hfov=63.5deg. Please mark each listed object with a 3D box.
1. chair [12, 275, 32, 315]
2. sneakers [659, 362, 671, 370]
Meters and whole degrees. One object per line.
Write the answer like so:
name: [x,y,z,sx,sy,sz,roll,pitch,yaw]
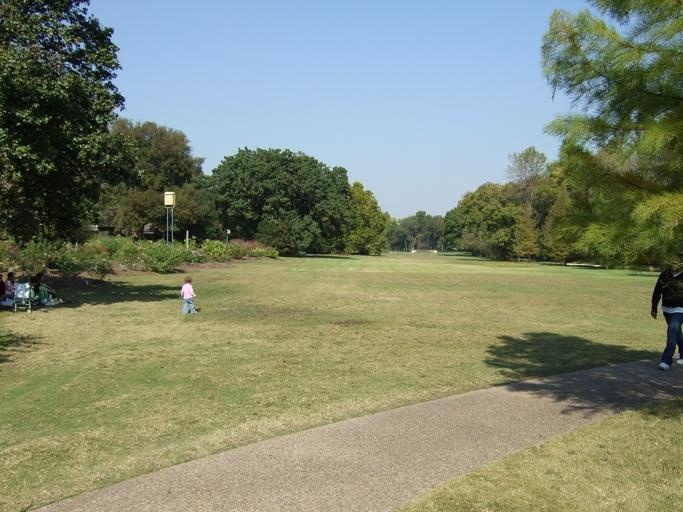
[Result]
chair: [-11.943,1.449,20.671,0.800,1.202,0.857,4,5,12]
sneakers: [7.264,2.496,12.398,0.102,0.123,0.296,14,4,2]
